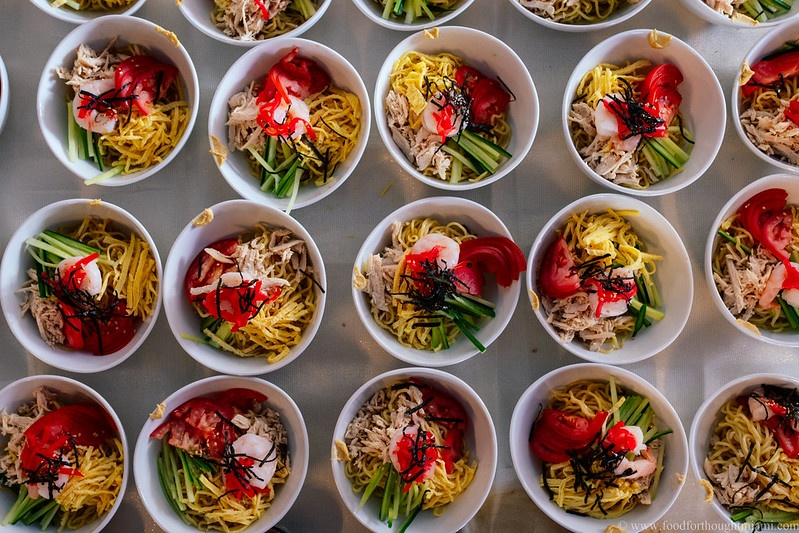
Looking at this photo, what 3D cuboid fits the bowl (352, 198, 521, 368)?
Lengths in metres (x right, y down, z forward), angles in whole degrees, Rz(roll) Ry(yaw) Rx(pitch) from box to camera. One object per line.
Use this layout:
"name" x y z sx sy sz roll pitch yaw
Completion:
"bowl" 0.181 0.066 3.533 0.800 0.426 0.776 1 -68 2

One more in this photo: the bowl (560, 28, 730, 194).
"bowl" 1.162 -0.735 3.534 0.772 0.391 0.702 1 -68 2
